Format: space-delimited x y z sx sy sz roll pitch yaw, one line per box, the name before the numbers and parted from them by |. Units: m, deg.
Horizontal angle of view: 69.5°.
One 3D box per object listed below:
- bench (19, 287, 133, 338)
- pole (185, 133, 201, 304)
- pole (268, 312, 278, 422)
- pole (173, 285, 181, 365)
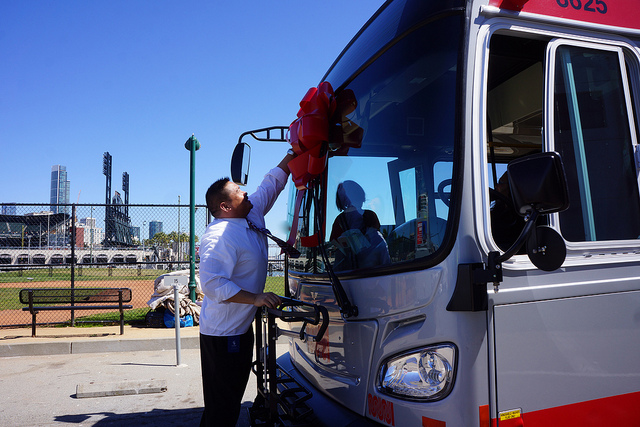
bench | -5.163 2.027 9.971 2.315 0.940 1.544 0 -1 -1
pole | -2.861 0.157 10.330 0.281 3.762 0.579 0 -2 -6
pole | -0.351 1.127 3.412 0.070 0.781 0.198 1 -2 -9
pole | -2.388 1.845 7.798 0.127 1.329 0.712 1 -2 -16
